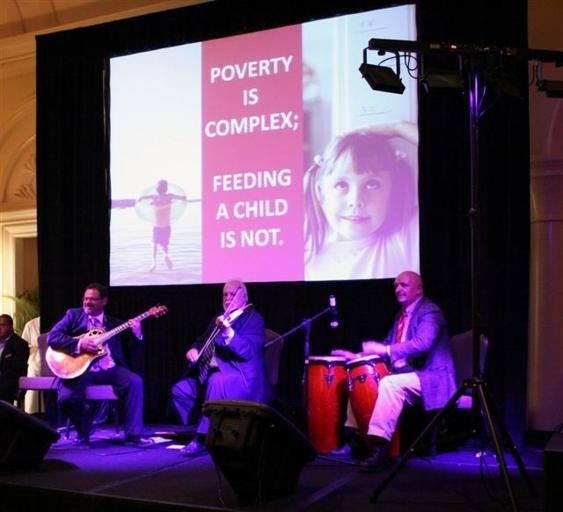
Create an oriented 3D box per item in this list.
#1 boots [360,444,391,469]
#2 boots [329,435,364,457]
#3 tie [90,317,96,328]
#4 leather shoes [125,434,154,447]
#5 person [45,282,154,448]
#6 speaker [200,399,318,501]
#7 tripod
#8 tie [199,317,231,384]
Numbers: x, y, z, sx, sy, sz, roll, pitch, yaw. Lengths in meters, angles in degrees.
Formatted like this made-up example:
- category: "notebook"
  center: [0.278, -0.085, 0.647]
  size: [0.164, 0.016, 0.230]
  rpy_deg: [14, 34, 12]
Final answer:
- category: "boots"
  center: [0.685, 1.443, 5.201]
  size: [0.263, 0.139, 0.104]
  rpy_deg: [12, -20, -40]
- category: "boots"
  center: [0.508, 1.489, 5.695]
  size: [0.323, 0.227, 0.119]
  rpy_deg: [6, -14, -2]
- category: "tie"
  center: [-1.653, 0.583, 6.425]
  size: [0.055, 0.093, 0.023]
  rpy_deg: [-1, -26, -7]
- category: "leather shoes"
  center: [-1.209, 1.560, 6.179]
  size: [0.262, 0.125, 0.097]
  rpy_deg: [-2, -9, 16]
- category: "person"
  center: [-1.635, 1.049, 6.676]
  size: [0.865, 1.730, 0.757]
  rpy_deg: [9, -45, -36]
- category: "speaker"
  center: [-0.131, 1.213, 4.684]
  size: [0.524, 0.601, 0.635]
  rpy_deg: [-4, -7, 36]
- category: "tripod"
  center: [1.242, 0.196, 4.956]
  size: [0.884, 2.830, 1.855]
  rpy_deg: [-1, 3, 19]
- category: "tie"
  center: [-0.551, 0.811, 6.106]
  size: [0.125, 0.605, 0.133]
  rpy_deg: [0, -32, 39]
